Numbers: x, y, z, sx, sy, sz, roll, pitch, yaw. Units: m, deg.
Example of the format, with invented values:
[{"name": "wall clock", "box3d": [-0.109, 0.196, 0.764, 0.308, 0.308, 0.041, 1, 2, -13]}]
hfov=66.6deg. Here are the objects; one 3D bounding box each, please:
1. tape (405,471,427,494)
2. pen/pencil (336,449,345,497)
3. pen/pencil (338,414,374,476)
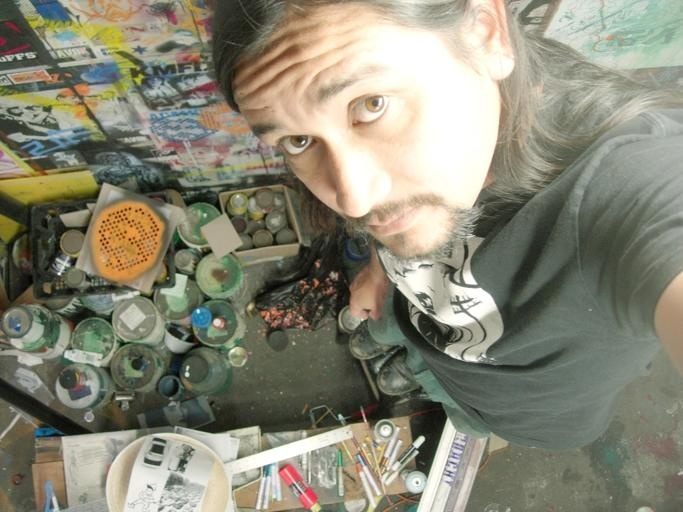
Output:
[{"name": "tape", "box3d": [0.274, 0.863, 1.974, 0.073, 0.067, 0.075, 18, 61, 7]}, {"name": "pen/pencil", "box3d": [-0.006, 0.820, 1.942, 0.025, 0.020, 0.148, -1, 83, -5]}, {"name": "pen/pencil", "box3d": [0.052, 0.731, 1.971, 0.028, 0.027, 0.229, -27, 72, -32]}]
